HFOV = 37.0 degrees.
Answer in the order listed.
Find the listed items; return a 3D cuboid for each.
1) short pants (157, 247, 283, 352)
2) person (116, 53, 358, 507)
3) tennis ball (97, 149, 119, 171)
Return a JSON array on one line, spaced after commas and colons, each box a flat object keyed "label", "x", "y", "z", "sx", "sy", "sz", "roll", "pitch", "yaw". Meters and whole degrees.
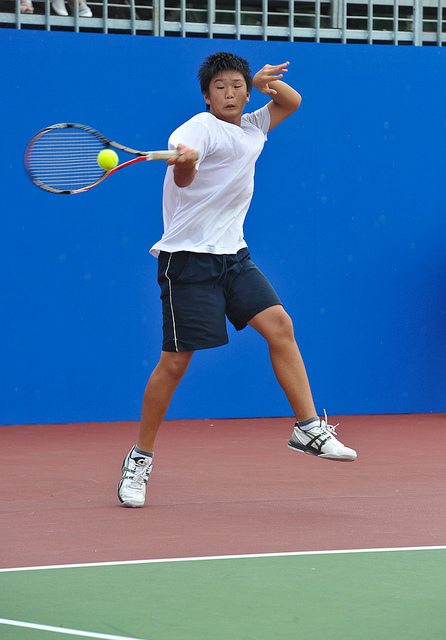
[{"label": "short pants", "x": -0.010, "y": -0.068, "z": 2.119, "sx": 0.363, "sy": 0.336, "sz": 0.125, "roll": 0, "pitch": -3, "yaw": -19}, {"label": "person", "x": 0.012, "y": -0.142, "z": 2.159, "sx": 0.639, "sy": 1.470, "sz": 0.544, "roll": 1, "pitch": -4, "yaw": -31}, {"label": "tennis ball", "x": -0.358, "y": -0.505, "z": 2.091, "sx": 0.068, "sy": 0.061, "sz": 0.064, "roll": 5, "pitch": 48, "yaw": -6}]
